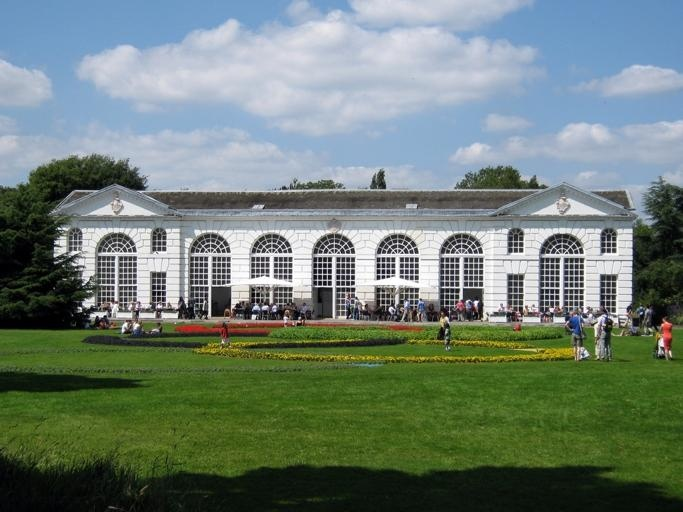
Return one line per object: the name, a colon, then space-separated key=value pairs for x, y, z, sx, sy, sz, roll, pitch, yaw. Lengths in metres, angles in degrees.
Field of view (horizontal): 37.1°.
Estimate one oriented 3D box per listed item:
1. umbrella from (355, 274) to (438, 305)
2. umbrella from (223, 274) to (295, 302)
umbrella: x=3.345 y=1.934 z=58.544 sx=4.065 sy=1.550 sz=1.467 roll=-2 pitch=1 yaw=11
umbrella: x=-4.517 y=1.821 z=59.092 sx=3.471 sy=1.349 sz=1.211 roll=-3 pitch=3 yaw=-24
